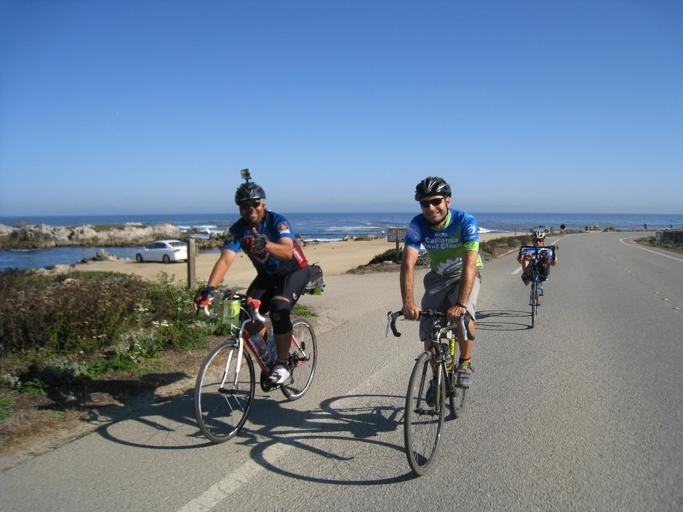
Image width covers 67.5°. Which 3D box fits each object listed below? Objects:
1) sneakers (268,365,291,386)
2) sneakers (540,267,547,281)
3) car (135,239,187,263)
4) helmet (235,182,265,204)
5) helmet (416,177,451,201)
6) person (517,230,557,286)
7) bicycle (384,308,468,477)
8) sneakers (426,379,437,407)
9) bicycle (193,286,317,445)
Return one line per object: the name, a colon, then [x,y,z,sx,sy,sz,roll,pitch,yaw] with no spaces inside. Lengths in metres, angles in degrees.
sneakers: [-0.700,1.378,5.986,0.145,0.132,0.345,6,2,12]
sneakers: [4.465,0.384,11.151,0.187,0.270,0.412,-5,-9,24]
car: [-11.301,-0.270,32.658,3.077,1.413,1.186,5,11,21]
helmet: [-1.032,-0.707,5.793,0.292,0.254,0.227,-1,10,-9]
helmet: [0.976,-0.701,5.371,0.356,0.262,0.405,1,10,6]
person: [4.424,0.000,11.632,0.980,1.350,2.151,-2,-5,20]
bicycle: [0.976,1.269,5.161,0.561,1.441,1.448,3,11,16]
sneakers: [0.877,1.335,5.006,0.123,0.241,0.085,-2,10,-15]
bicycle: [-0.983,1.090,5.921,0.541,1.509,1.938,6,12,32]
